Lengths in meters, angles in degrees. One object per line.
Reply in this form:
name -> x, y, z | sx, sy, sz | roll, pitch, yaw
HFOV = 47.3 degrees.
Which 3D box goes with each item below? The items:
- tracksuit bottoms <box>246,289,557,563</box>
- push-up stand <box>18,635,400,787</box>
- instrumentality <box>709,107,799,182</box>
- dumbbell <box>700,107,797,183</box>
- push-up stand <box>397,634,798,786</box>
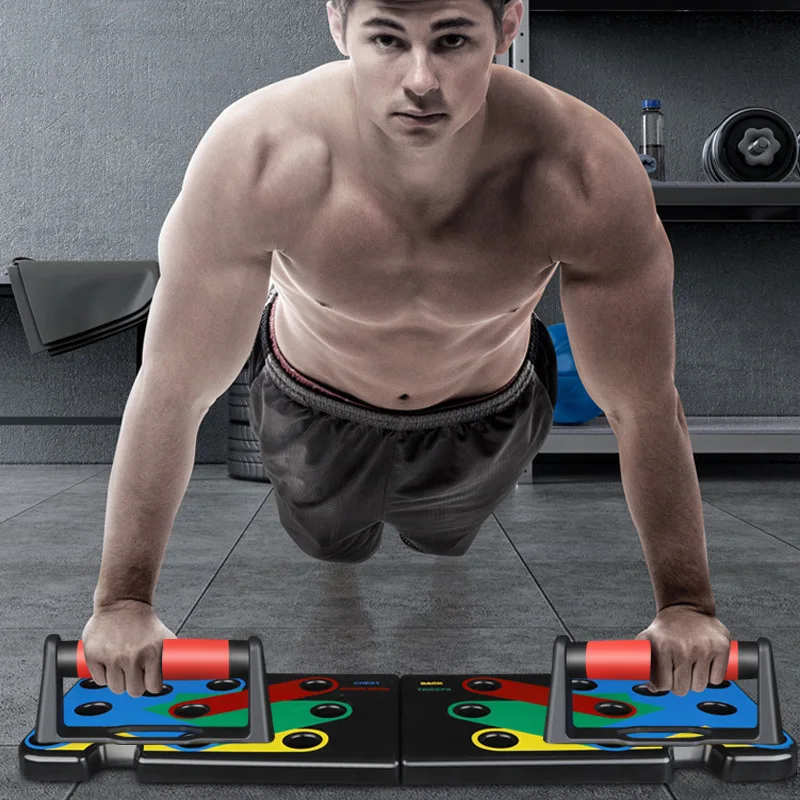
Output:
tracksuit bottoms -> -0.014, 0.025, 1.590 | 0.537, 0.407, 0.378 | 2, 11, -8
push-up stand -> -0.197, 0.298, 0.979 | 0.388, 0.174, 0.199 | 0, 11, -1
instrumentality -> 1.066, -0.739, 2.762 | 0.345, 0.221, 0.162 | 1, 8, 5
dumbbell -> 1.030, -0.737, 2.753 | 0.437, 0.215, 0.241 | 1, 10, 9
push-up stand -> 0.191, 0.260, 0.950 | 0.442, 0.093, 0.204 | -1, -2, 2
